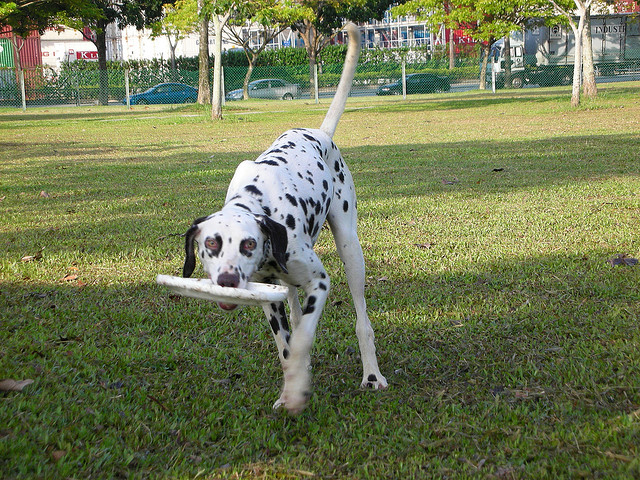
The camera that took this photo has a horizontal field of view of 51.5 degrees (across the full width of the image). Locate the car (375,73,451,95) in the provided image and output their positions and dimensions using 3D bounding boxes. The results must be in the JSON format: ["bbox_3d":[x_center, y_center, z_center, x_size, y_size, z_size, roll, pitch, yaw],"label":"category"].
[{"bbox_3d":[6.785,-10.973,46.560,4.471,1.721,2.096,-2,12,-9],"label":"car"}]

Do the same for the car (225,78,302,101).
[{"bbox_3d":[-3.547,-10.171,46.301,5.397,1.883,2.309,-6,18,-21],"label":"car"}]
